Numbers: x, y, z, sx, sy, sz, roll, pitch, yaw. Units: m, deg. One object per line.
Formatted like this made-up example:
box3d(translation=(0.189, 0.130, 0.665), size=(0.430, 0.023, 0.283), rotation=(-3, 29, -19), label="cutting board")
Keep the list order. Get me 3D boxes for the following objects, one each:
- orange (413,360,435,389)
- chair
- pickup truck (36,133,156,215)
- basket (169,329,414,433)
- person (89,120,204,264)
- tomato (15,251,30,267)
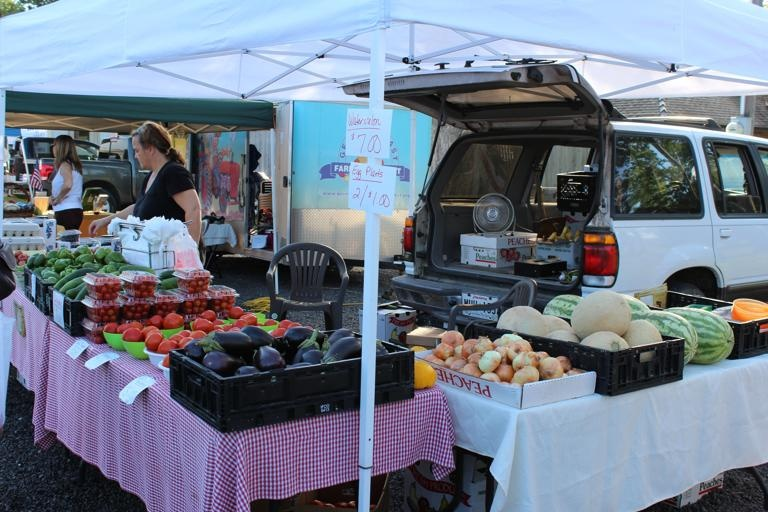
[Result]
box3d(translation=(0.236, 0.700, 3.621), size=(0.158, 0.118, 0.118), rotation=(4, 9, 14), label="orange")
box3d(translation=(-0.858, 0.492, 6.621), size=(0.870, 1.141, 0.806), rotation=(1, 3, -15), label="chair")
box3d(translation=(-5.742, -1.537, 12.136), size=(2.391, 1.146, 1.209), rotation=(-7, -8, 0), label="pickup truck")
box3d(translation=(-0.501, 0.677, 3.432), size=(1.291, 0.299, 0.514), rotation=(-5, 14, -23), label="basket")
box3d(translation=(-2.112, -0.706, 5.964), size=(0.686, 1.827, 0.613), rotation=(-1, 2, -31), label="person")
box3d(translation=(-3.657, 0.037, 6.224), size=(0.128, 0.127, 0.039), rotation=(0, -11, -25), label="tomato")
